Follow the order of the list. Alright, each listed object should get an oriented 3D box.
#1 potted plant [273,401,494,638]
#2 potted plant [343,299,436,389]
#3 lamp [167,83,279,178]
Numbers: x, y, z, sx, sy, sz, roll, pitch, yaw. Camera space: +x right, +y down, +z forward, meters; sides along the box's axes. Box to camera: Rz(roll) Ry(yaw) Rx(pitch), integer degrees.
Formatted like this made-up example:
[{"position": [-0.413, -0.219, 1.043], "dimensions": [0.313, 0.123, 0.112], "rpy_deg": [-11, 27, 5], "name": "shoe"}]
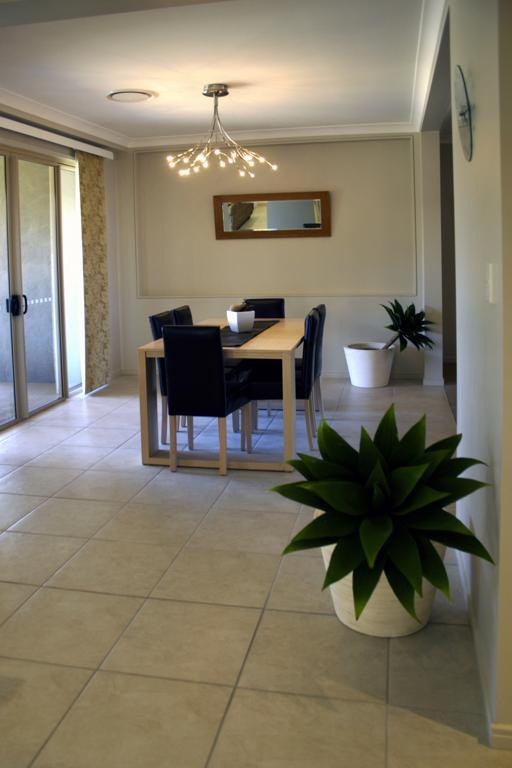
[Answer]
[{"position": [0.333, 0.312, 1.522], "dimensions": [0.556, 0.463, 0.588], "rpy_deg": [1, 13, 29], "name": "potted plant"}, {"position": [1.349, -0.418, 5.636], "dimensions": [0.903, 0.865, 0.626], "rpy_deg": [-1, 7, -2], "name": "potted plant"}, {"position": [-0.352, -2.438, 5.157], "dimensions": [0.712, 0.574, 0.817], "rpy_deg": [3, 29, 7], "name": "lamp"}]
